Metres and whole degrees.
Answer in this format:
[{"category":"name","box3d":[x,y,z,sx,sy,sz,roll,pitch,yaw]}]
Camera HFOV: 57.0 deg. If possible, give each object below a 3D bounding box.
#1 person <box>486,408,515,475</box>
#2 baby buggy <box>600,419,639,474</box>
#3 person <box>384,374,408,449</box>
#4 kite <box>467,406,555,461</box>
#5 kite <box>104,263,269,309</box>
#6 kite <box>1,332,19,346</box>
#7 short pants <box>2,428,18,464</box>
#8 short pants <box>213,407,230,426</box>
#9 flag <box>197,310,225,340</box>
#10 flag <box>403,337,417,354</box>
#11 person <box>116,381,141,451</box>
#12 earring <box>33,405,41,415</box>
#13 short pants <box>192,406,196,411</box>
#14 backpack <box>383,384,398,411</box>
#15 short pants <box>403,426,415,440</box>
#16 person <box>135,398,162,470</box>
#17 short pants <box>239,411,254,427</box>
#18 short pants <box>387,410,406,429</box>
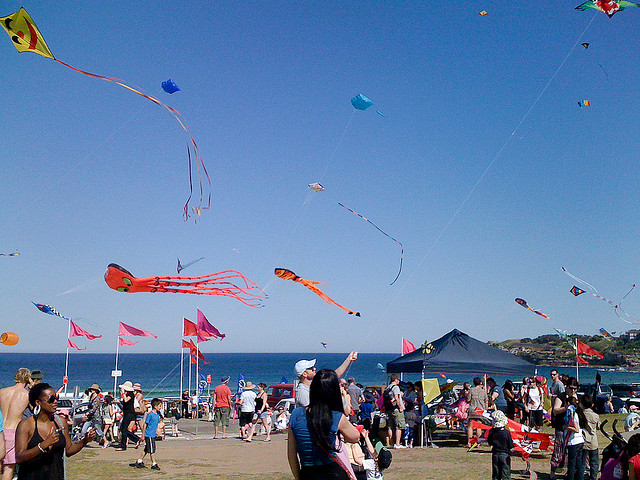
[{"category":"person","box3d":[3.269,3.653,10.679,0.407,1.084,0.399,-6,-20,16]},{"category":"baby buggy","box3d":[5.086,3.413,9.985,0.610,0.735,1.283,-8,-21,22]},{"category":"person","box3d":[1.939,4.391,15.111,0.684,1.751,0.574,12,-17,-35]},{"category":"kite","box3d":[4.434,4.413,14.044,1.981,0.627,1.977,7,9,-33]},{"category":"kite","box3d":[-2.334,0.795,10.525,2.813,0.739,0.498,6,-12,-12]},{"category":"kite","box3d":[-5.957,1.914,11.323,0.261,0.245,0.400,12,-23,-31]},{"category":"short pants","box3d":[-4.506,2.986,8.566,0.197,0.513,0.848,9,-22,-25]},{"category":"short pants","box3d":[-2.893,5.218,17.376,0.371,0.502,0.671,15,-25,-36]},{"category":"flag","box3d":[-4.074,3.066,21.461,0.709,0.734,0.943,3,-20,-8]},{"category":"flag","box3d":[3.379,4.107,22.443,0.283,0.483,0.949,-13,-24,33]},{"category":"person","box3d":[-5.126,4.698,15.766,0.804,1.788,0.594,4,-16,-5]},{"category":"earring","box3d":[-3.697,2.235,7.716,0.094,0.137,0.026,2,-4,10]},{"category":"short pants","box3d":[-5.314,7.134,24.874,0.145,0.193,0.919,3,-20,-9]},{"category":"backpack","box3d":[1.762,3.991,14.912,0.445,0.622,0.332,-12,-23,31]},{"category":"short pants","box3d":[2.406,5.197,15.824,0.493,0.302,0.251,15,-24,-36]},{"category":"person","box3d":[-3.955,4.474,13.710,0.520,1.580,1.933,5,-20,-15]},{"category":"short pants","box3d":[-2.113,5.140,16.994,0.446,0.455,0.267,4,15,-3]},{"category":"short pants","box3d":[1.937,4.562,14.984,0.296,0.545,0.487,-11,10,-20]}]
